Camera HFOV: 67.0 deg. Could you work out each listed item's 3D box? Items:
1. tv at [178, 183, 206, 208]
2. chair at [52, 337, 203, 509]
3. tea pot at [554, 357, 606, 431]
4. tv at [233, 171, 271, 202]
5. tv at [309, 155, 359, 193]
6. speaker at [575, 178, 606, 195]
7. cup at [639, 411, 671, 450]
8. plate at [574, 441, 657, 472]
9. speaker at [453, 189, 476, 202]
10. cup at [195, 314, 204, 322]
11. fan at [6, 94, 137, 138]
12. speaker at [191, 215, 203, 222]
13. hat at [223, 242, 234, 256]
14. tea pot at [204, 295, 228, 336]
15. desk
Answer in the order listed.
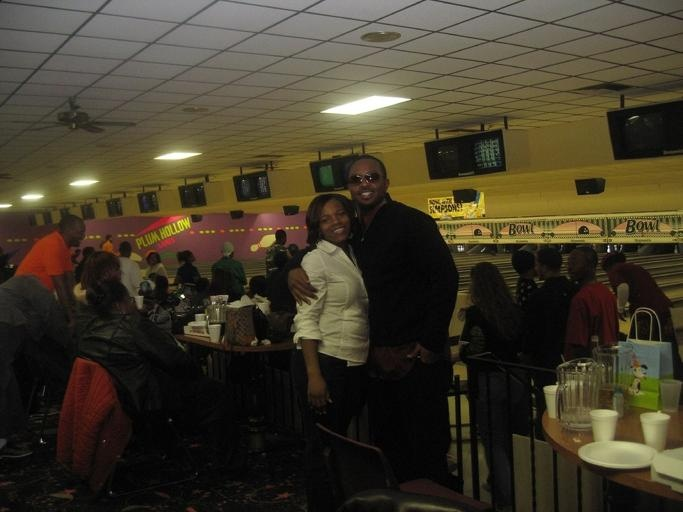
[{"bbox_3d":[-3.622,-1.481,12.633,0.829,0.556,0.405,-4,8,32],"label":"tv"},{"bbox_3d":[-1.592,0.944,3.843,0.913,1.291,1.002,5,27,-35],"label":"chair"},{"bbox_3d":[1.042,0.601,2.204,0.208,0.229,0.203,2,-22,1],"label":"tea pot"},{"bbox_3d":[-1.845,-1.463,10.812,0.974,0.548,0.475,-1,7,33],"label":"tv"},{"bbox_3d":[0.132,-1.461,9.238,1.167,0.602,0.642,2,13,40],"label":"tv"},{"bbox_3d":[5.330,-1.424,11.050,0.530,0.314,0.513,-4,-14,31],"label":"speaker"},{"bbox_3d":[1.160,0.641,1.911,0.113,0.092,0.097,-1,-2,-12],"label":"cup"},{"bbox_3d":[0.972,0.689,1.830,0.235,0.069,0.172,1,10,29],"label":"plate"},{"bbox_3d":[2.789,-1.374,11.747,0.245,0.270,0.493,-12,12,-34],"label":"speaker"},{"bbox_3d":[-1.264,0.552,4.632,0.077,0.041,0.067,-1,-2,8],"label":"cup"},{"bbox_3d":[-3.024,-1.512,5.852,0.691,0.225,0.760,8,11,39],"label":"fan"},{"bbox_3d":[-5.784,-1.508,20.755,0.386,0.353,0.358,-2,8,-16],"label":"speaker"},{"bbox_3d":[-1.852,-0.106,8.474,0.257,0.194,0.184,-3,11,-10],"label":"hat"},{"bbox_3d":[-1.009,0.496,4.435,0.255,0.299,0.192,-2,-4,9],"label":"tea pot"},{"bbox_3d":[-0.870,1.274,4.451,1.061,0.710,1.694,3,-10,-21],"label":"desk"}]
